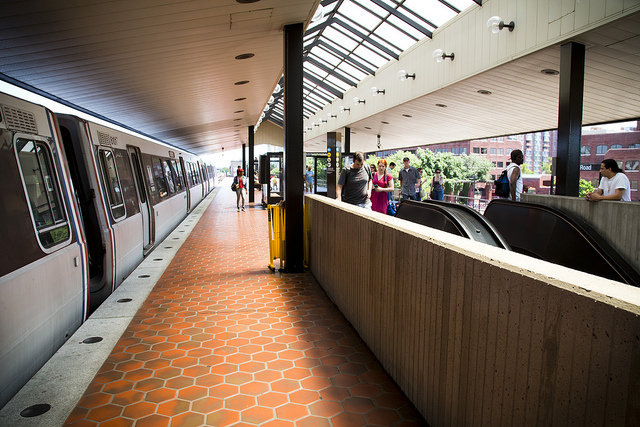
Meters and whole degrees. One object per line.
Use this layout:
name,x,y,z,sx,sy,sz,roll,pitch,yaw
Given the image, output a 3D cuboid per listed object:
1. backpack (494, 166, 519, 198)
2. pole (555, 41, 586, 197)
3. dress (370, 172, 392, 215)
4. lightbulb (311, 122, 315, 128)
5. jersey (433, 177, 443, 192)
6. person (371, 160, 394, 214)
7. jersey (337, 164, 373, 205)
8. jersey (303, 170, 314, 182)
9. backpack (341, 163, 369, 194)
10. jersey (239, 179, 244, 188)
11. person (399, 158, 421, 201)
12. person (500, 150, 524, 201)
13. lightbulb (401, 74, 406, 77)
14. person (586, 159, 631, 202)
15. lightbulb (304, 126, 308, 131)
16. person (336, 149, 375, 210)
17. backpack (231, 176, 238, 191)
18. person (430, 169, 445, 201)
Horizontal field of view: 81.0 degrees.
backpack,4.209,-0.722,8.445,0.454,0.789,0.563,8,13,26
pole,4.903,-1.876,7.396,0.577,2.979,0.416,-3,9,-15
dress,1.453,-0.462,8.954,0.529,0.982,0.631,4,10,25
lightbulb,-0.495,-6.780,28.569,0.127,0.379,0.667,-2,10,-11
jersey,4.549,-1.094,14.439,0.325,0.550,0.432,1,-2,-8
person,1.490,-0.619,8.933,0.495,1.298,0.773,-3,10,-18
jersey,0.778,-0.601,7.606,0.784,0.780,0.448,-4,18,-18
jersey,-0.655,-2.006,20.772,0.473,0.844,0.850,-1,4,22
backpack,0.749,-0.752,7.800,0.451,0.626,0.658,2,-24,-3
jersey,-3.722,-1.411,17.670,0.178,0.405,0.253,-3,9,-14
person,2.743,-1.047,11.353,0.650,1.272,0.664,2,9,13
person,4.153,-0.794,7.996,0.352,1.117,1.328,4,11,28
lightbulb,2.521,-4.225,11.405,0.087,0.092,0.050,-1,0,-1
person,4.906,-0.545,6.270,0.455,0.697,2.685,8,13,40
lightbulb,-1.152,-7.051,30.897,0.264,0.376,0.318,-2,-4,13
person,0.696,-0.667,7.469,0.675,1.141,0.768,0,9,5
backpack,-4.216,-1.442,18.683,0.378,0.683,0.619,10,-16,-22
person,4.583,-1.102,14.552,0.439,1.210,1.375,2,10,17
